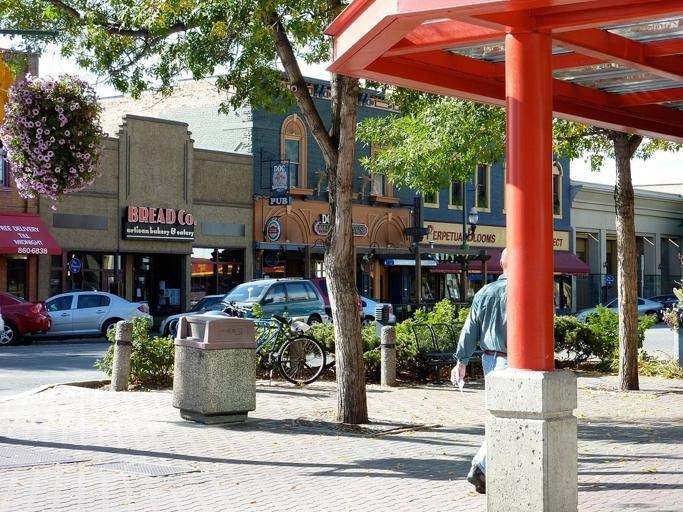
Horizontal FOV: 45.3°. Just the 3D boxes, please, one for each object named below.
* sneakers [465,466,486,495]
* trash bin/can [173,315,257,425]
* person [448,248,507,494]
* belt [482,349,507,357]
[{"bbox_3d":[1.246,2.070,7.494,0.104,0.153,0.333,0,-1,7],"label":"sneakers"},{"bbox_3d":[-1.712,1.522,11.140,0.819,1.367,0.810,3,-2,-43],"label":"trash bin/can"},{"bbox_3d":[1.339,1.093,8.037,0.519,2.311,1.077,0,-2,8],"label":"person"},{"bbox_3d":[1.487,0.968,8.089,0.070,0.063,0.367,2,-3,-24],"label":"belt"}]
